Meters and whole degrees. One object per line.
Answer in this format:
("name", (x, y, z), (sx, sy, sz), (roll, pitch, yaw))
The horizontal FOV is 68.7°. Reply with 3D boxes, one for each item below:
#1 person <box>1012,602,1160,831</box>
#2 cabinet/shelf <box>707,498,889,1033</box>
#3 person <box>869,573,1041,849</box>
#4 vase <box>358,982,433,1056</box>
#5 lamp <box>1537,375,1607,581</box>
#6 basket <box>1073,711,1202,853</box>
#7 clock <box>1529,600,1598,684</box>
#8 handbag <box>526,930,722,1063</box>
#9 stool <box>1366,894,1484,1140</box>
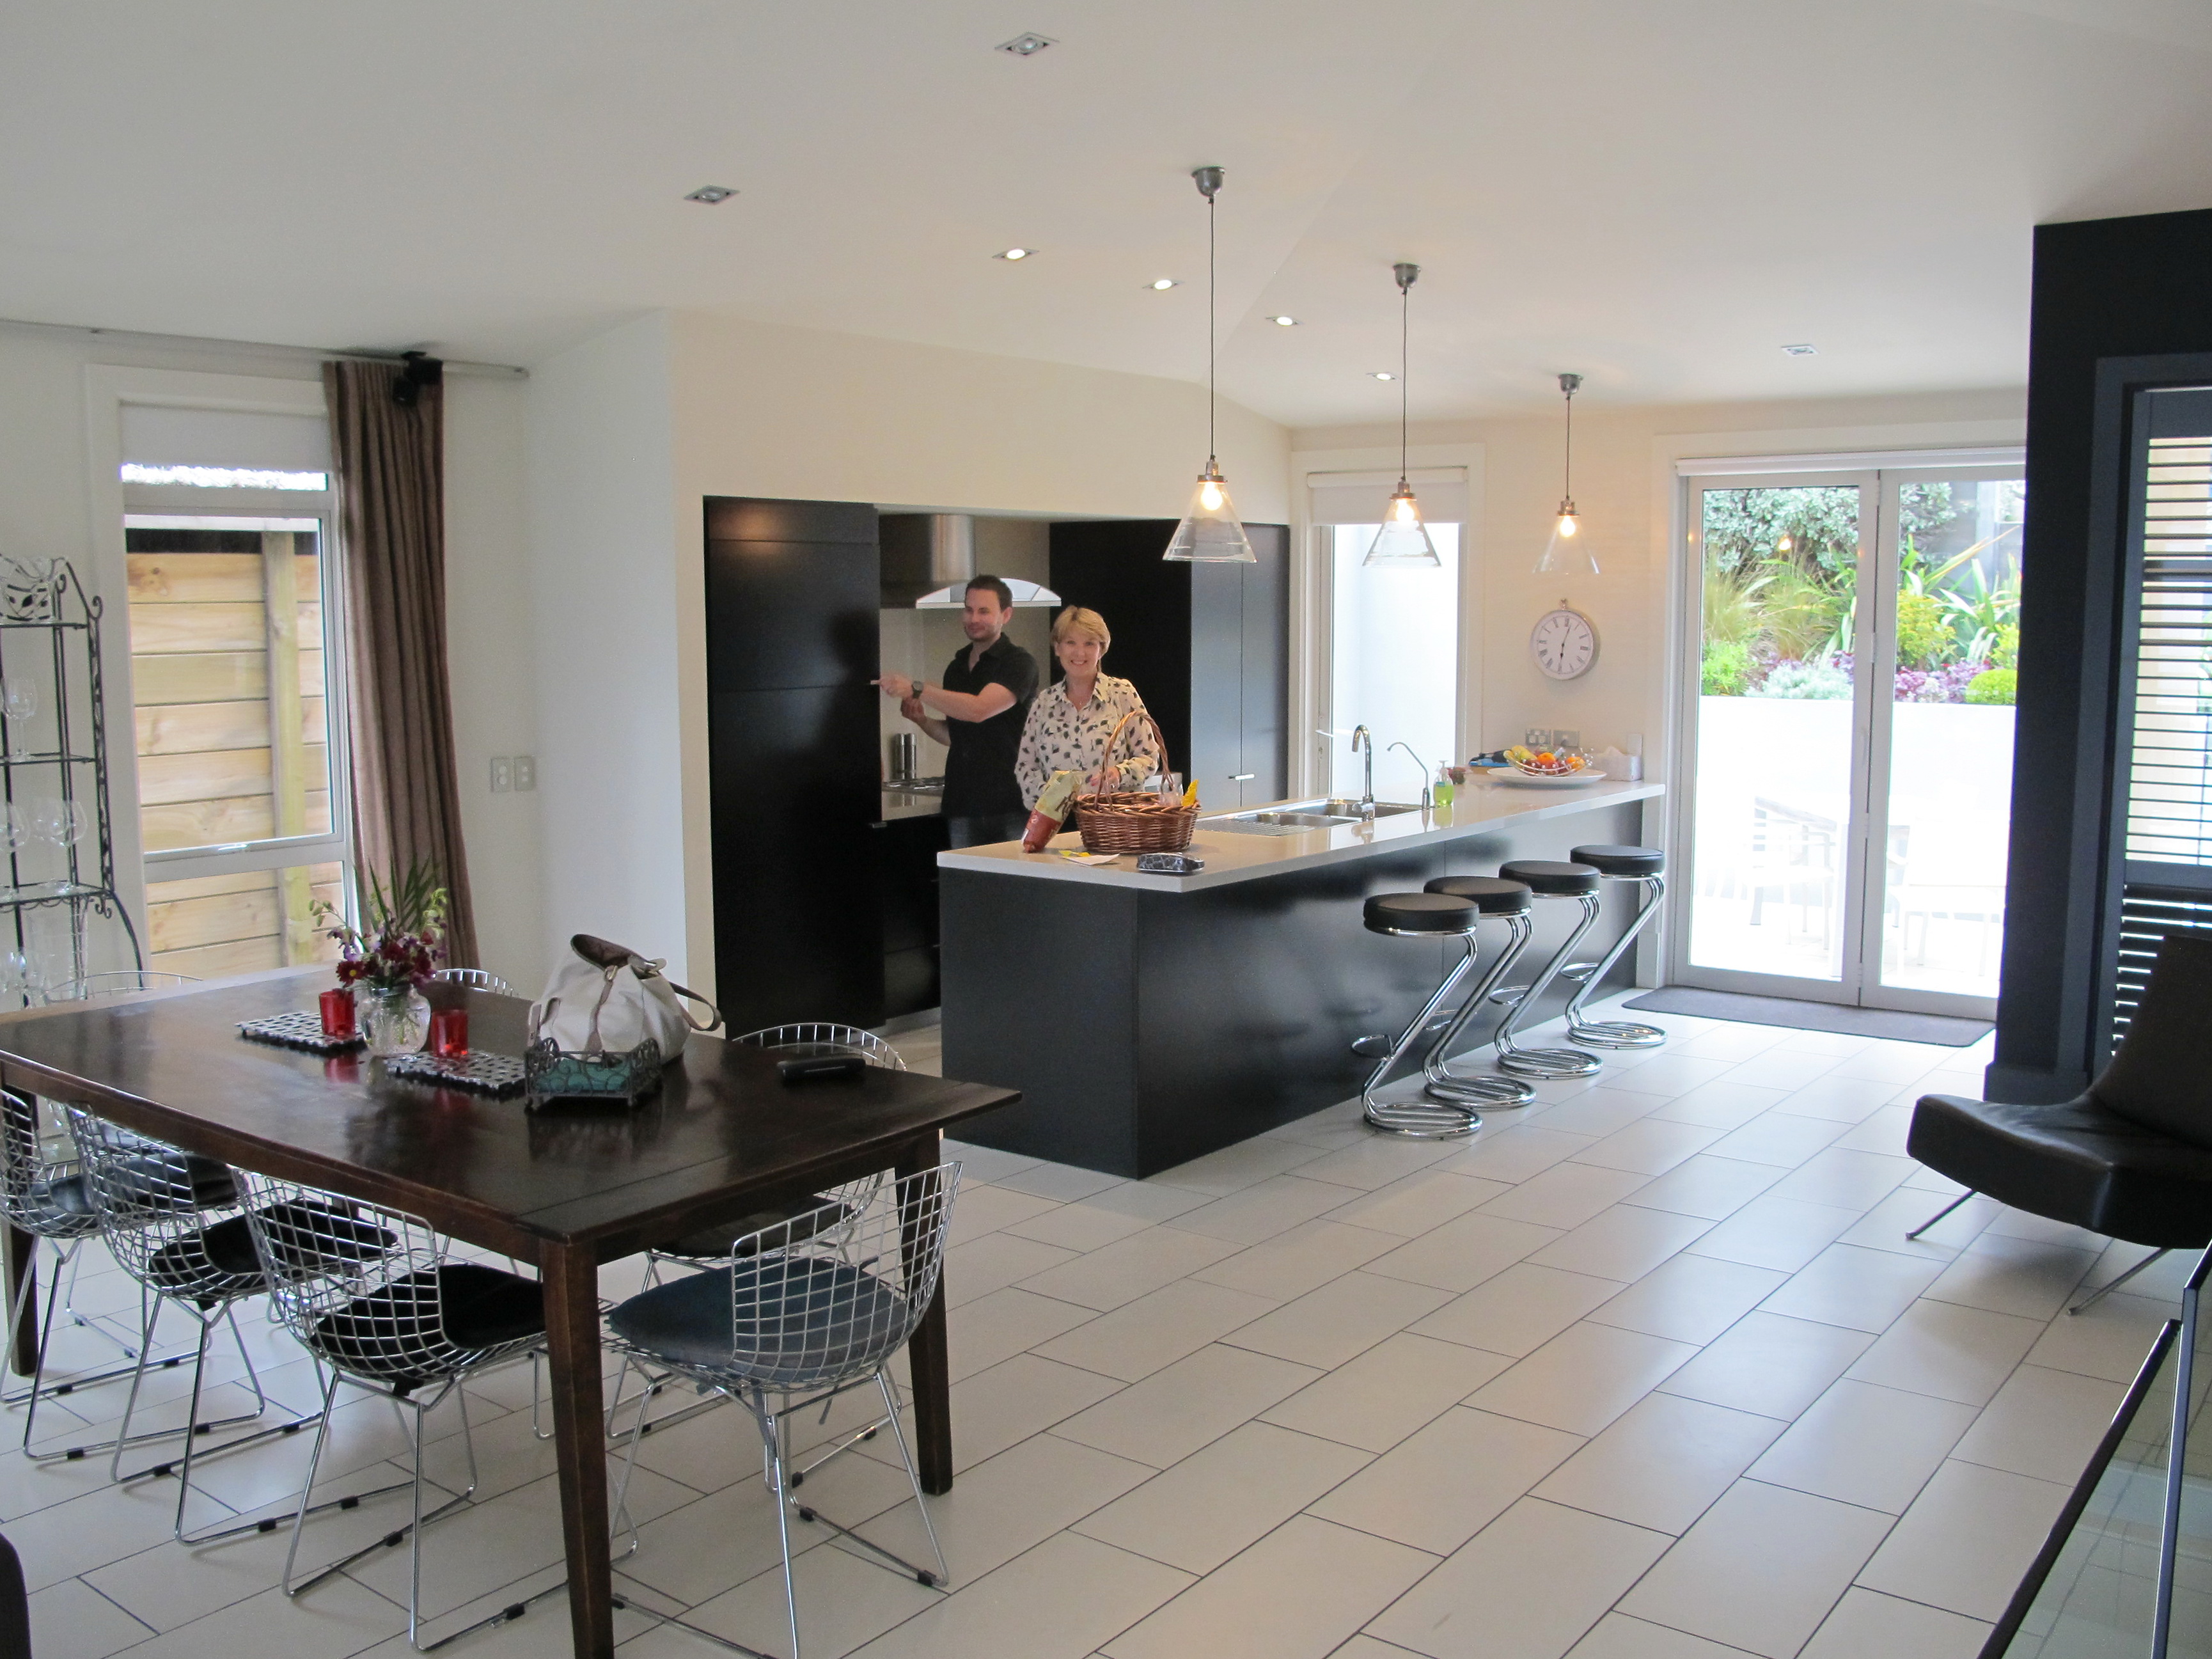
("person", (-0.082, -0.358, 6.366), (0.569, 0.966, 0.590), (-3, 18, -1))
("cabinet/shelf", (-1.364, -0.183, 6.732), (0.274, 2.243, 0.916), (6, 9, 43))
("person", (-0.629, -0.237, 7.117), (0.670, 1.592, 0.533), (-1, 11, 1))
("vase", (-1.717, 0.455, 3.933), (0.168, 0.157, 0.158), (-2, 4, -23))
("lamp", (2.259, -1.689, 7.862), (0.263, 0.946, 0.640), (4, 11, 21))
("basket", (0.121, -0.177, 6.022), (0.409, 0.433, 0.897), (1, 10, 5))
("clock", (2.314, -0.943, 8.166), (0.440, 0.519, 0.075), (0, 0, 43))
("handbag", (-1.073, 0.403, 3.750), (0.393, 0.260, 0.269), (-3, -13, 20))
("stool", (1.228, 0.641, 6.241), (0.459, 0.886, 0.898), (2, 11, 13))
